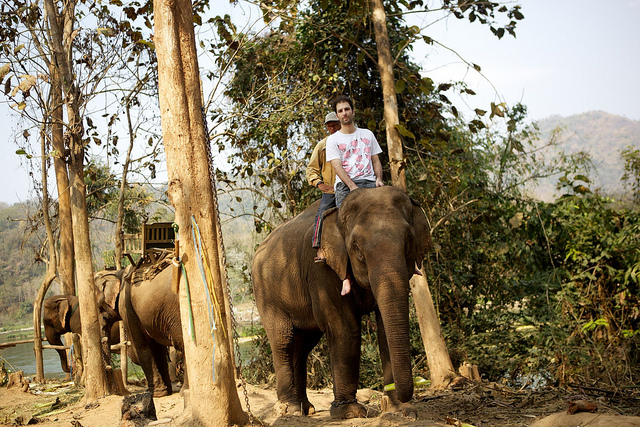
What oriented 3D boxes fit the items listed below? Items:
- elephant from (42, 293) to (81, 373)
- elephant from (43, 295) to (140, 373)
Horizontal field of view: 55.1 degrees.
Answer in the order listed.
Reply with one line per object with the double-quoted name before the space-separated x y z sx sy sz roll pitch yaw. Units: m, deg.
"elephant" -6.806 3.116 16.118 0.852 2.137 2.274 -2 -11 -25
"elephant" -5.998 3.134 16.213 3.104 2.218 1.400 -4 7 17
